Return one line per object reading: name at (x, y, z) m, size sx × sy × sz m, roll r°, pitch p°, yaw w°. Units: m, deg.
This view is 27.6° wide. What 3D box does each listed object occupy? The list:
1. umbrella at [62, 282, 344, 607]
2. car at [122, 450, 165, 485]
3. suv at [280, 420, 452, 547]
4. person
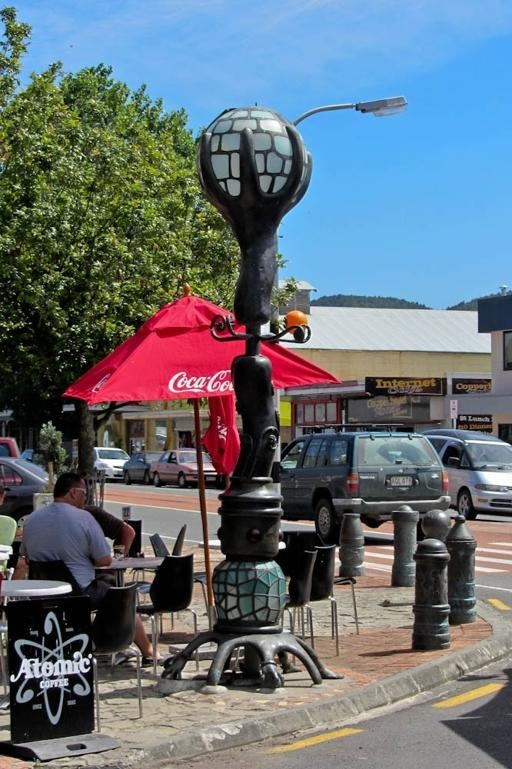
umbrella at (-0.589, 0.396, 8.476) m, size 2.350 × 2.772 × 2.340 m, roll -3°, pitch 6°, yaw -3°
car at (-4.654, 3.378, 43.064) m, size 1.033 × 0.912 × 2.068 m, roll 2°, pitch -9°, yaw -26°
suv at (1.592, 1.579, 16.835) m, size 1.500 × 1.147 × 2.811 m, roll 1°, pitch 0°, yaw -18°
person at (-1.132, 1.106, 6.561) m, size 0.693 × 1.081 × 0.885 m, roll 0°, pitch -2°, yaw -1°
